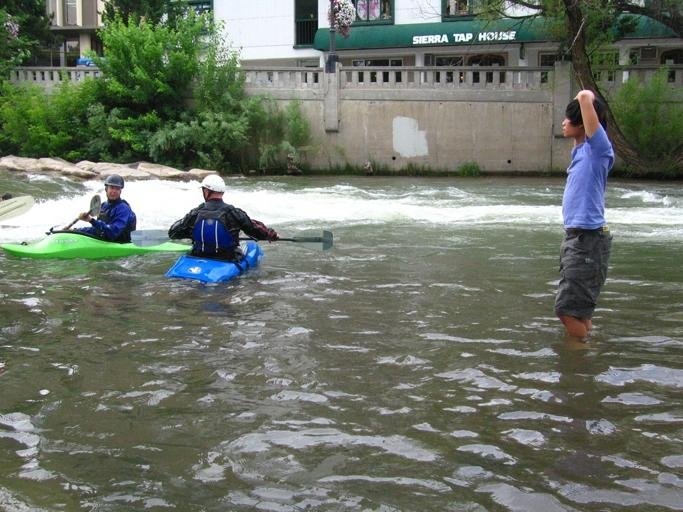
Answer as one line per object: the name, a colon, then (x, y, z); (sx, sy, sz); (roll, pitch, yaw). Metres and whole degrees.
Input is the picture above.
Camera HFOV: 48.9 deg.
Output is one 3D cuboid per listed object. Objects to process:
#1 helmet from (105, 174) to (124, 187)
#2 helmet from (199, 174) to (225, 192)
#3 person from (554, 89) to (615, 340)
helmet: (-3.155, -1.071, 10.657); (0.212, 0.159, 0.233); (4, 17, -25)
helmet: (-1.687, -0.948, 9.792); (0.274, 0.141, 0.355); (1, 9, -43)
person: (2.264, -0.327, 6.992); (0.471, 2.352, 0.519); (7, 14, 39)
